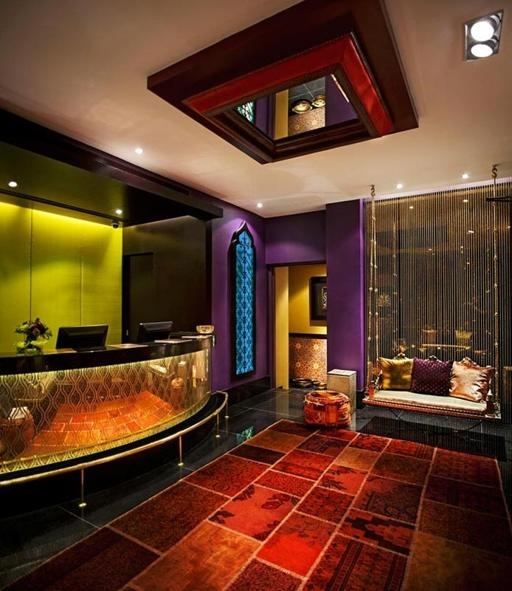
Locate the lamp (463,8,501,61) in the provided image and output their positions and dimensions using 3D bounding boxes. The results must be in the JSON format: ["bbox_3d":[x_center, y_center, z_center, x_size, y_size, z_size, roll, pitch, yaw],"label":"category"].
[{"bbox_3d":[1.392,-1.593,2.685,0.208,0.120,0.309,1,2,25],"label":"lamp"}]

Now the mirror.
[{"bbox_3d":[0.460,-1.544,3.857,0.846,0.203,0.889,-3,-1,18],"label":"mirror"}]

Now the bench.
[{"bbox_3d":[1.987,0.968,4.937,1.358,0.464,1.126,1,2,29],"label":"bench"}]

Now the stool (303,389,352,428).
[{"bbox_3d":[0.853,1.348,5.238,0.568,0.299,0.569,1,3,10],"label":"stool"}]

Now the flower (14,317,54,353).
[{"bbox_3d":[-1.690,0.299,3.304,0.221,0.248,0.354,0,1,-18],"label":"flower"}]

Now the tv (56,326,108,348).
[{"bbox_3d":[-1.429,0.341,3.582,0.326,0.222,0.213,-1,14,-43],"label":"tv"}]
